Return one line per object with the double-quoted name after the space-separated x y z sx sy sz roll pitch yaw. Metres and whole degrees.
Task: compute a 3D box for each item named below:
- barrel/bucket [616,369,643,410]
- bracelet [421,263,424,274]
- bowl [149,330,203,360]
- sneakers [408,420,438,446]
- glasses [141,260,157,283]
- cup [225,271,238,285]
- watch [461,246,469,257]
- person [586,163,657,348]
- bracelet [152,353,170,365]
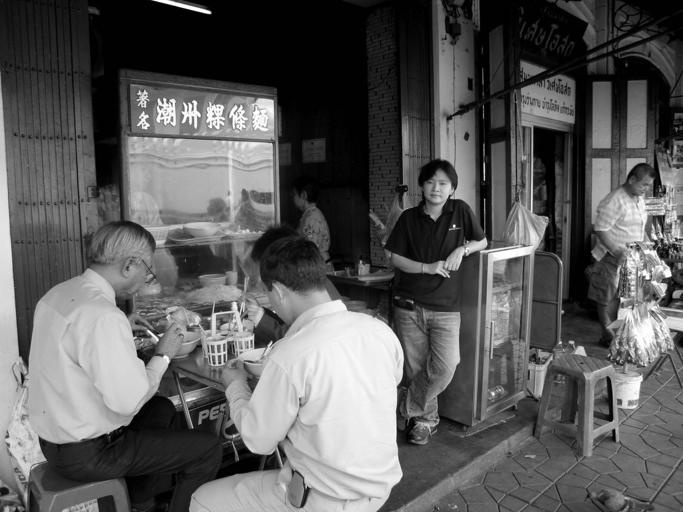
2.769 1.276 4.974 0.382 0.383 0.137 -9 10 -27 "barrel/bucket"
0.654 0.102 4.159 0.018 0.083 0.055 -3 9 8 "bracelet"
-1.044 0.587 3.503 0.220 0.090 0.229 1 9 0 "bowl"
0.667 1.462 4.293 0.123 0.143 0.320 -5 -12 24 "sneakers"
-1.333 0.110 3.586 0.053 0.193 0.172 2 -4 -37 "glasses"
-1.039 0.210 4.918 0.094 0.127 0.119 -3 -3 39 "cup"
0.984 -0.043 4.127 0.054 0.092 0.078 -2 -3 1 "watch"
3.460 0.006 6.448 0.685 2.239 0.590 0 10 26 "person"
-1.034 0.596 3.020 0.067 0.029 0.069 12 15 25 "bracelet"
